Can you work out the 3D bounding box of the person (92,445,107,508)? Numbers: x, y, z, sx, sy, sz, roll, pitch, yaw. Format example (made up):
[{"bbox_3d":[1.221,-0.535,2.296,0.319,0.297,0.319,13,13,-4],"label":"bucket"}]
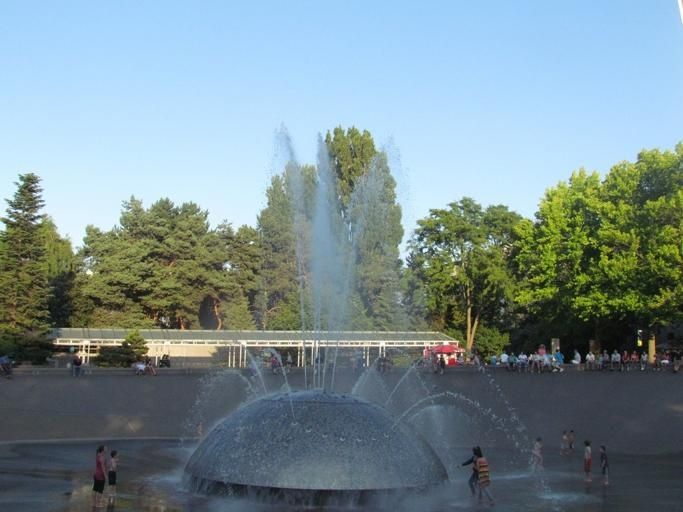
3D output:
[{"bbox_3d":[-7.940,7.174,27.953,0.452,1.772,1.296,0,2,-16],"label":"person"}]

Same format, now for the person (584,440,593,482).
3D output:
[{"bbox_3d":[9.170,7.425,31.511,0.267,1.382,1.544,1,1,16],"label":"person"}]

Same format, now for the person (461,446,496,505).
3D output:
[{"bbox_3d":[4.787,7.311,29.746,0.983,1.699,3.126,0,1,8],"label":"person"}]

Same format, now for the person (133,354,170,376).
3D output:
[{"bbox_3d":[-13.376,7.703,59.768,1.545,1.128,1.083,-7,-3,12],"label":"person"}]
